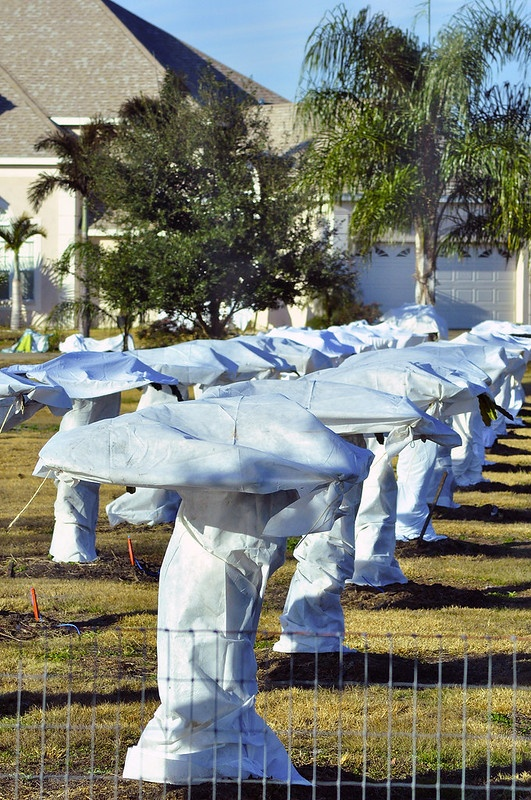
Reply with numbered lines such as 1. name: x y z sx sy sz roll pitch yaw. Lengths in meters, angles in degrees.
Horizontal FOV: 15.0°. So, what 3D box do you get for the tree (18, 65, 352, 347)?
1. tree: -0.866 -3.377 37.282 4.599 5.586 5.570 4 4 30
